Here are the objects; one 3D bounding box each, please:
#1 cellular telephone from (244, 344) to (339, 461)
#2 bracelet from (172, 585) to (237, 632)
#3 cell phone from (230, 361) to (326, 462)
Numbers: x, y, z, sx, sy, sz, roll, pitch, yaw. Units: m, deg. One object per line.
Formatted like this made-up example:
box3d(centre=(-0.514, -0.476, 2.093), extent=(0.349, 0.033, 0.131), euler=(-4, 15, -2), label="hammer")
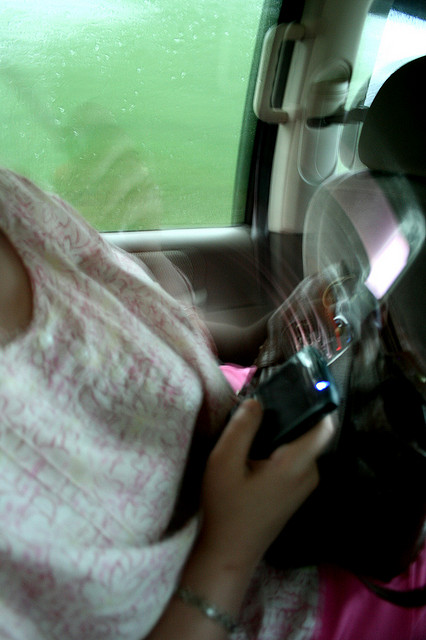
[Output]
box3d(centre=(0.096, 0.091, 0.621), extent=(0.034, 0.137, 0.066), euler=(7, 59, -35), label="cellular telephone")
box3d(centre=(-0.011, 0.316, 0.583), extent=(0.077, 0.016, 0.015), euler=(28, 69, 3), label="bracelet")
box3d(centre=(0.087, 0.099, 0.630), extent=(0.035, 0.144, 0.079), euler=(23, 42, -33), label="cell phone")
